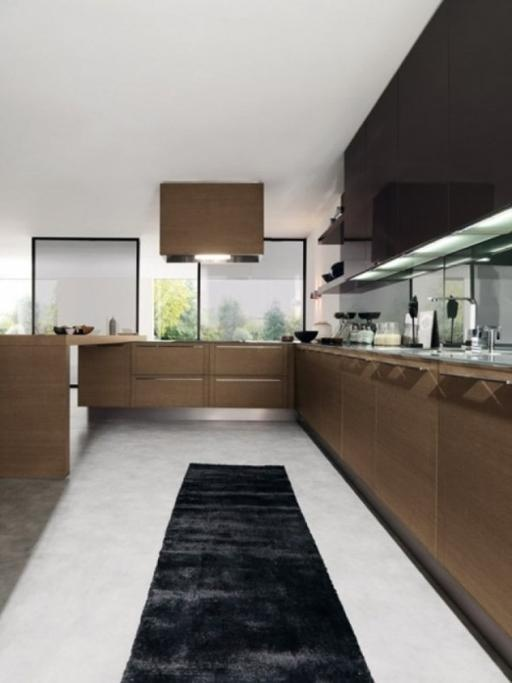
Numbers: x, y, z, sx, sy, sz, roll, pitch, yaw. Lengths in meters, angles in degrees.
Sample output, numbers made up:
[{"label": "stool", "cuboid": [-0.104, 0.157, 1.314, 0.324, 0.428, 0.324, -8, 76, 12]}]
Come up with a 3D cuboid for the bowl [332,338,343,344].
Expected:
[{"label": "bowl", "cuboid": [0.716, -0.004, 4.385, 0.051, 0.049, 0.055, 0, -1, 0]}]

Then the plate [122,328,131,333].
[{"label": "plate", "cuboid": [-1.361, -0.113, 5.328, 0.110, 0.042, 0.055, 1, 1, 36]}]

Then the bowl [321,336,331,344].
[{"label": "bowl", "cuboid": [0.623, -0.009, 4.491, 0.089, 0.054, 0.333, 0, 1, 6]}]
